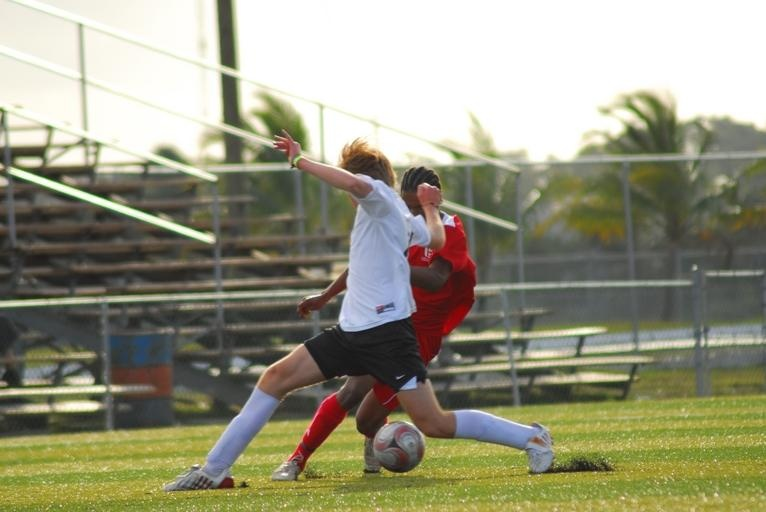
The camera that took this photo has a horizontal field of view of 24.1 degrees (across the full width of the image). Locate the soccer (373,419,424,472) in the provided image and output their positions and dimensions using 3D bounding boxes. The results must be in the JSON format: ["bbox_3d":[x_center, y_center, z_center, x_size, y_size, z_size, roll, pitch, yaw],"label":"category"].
[{"bbox_3d":[0.184,2.026,18.718,0.619,0.646,0.589,-2,-21,-14],"label":"soccer"}]
